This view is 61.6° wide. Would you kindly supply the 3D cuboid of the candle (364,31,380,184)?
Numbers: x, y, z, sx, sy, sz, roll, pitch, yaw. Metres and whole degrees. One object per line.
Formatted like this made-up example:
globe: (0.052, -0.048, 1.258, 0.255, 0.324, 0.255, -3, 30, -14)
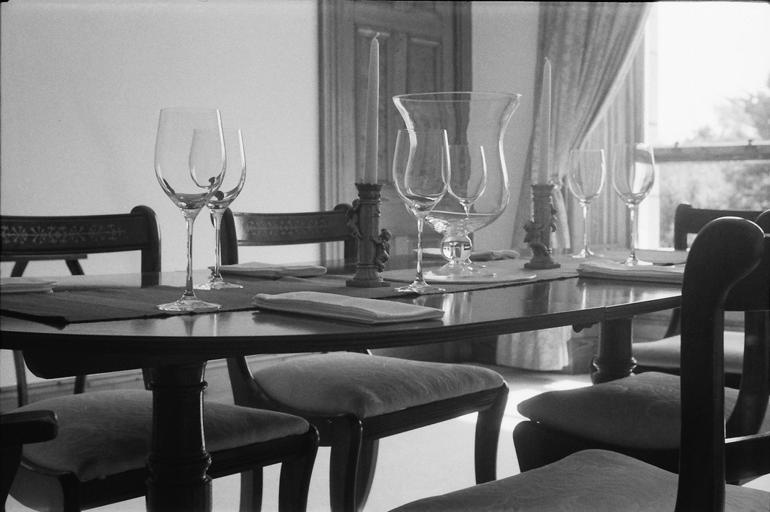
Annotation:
candle: (-0.028, -0.273, 1.246, 0.033, 0.273, 0.084, -2, 6, 0)
